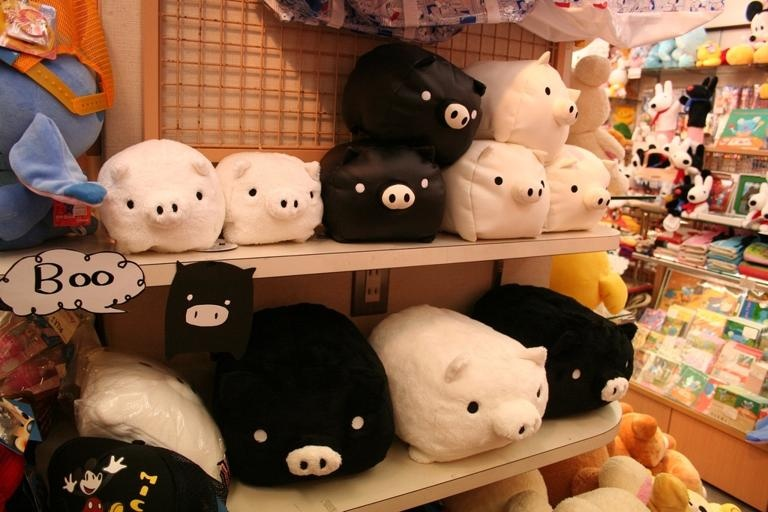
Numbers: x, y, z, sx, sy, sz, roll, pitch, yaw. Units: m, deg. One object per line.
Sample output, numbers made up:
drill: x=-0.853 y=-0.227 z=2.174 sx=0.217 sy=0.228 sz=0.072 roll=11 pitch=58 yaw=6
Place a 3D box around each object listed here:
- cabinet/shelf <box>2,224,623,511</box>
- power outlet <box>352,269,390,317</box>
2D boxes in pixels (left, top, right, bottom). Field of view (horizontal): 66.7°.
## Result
cabinet/shelf: x=-0.012 y=0.281 z=2.057 sx=1.866 sy=0.890 sz=0.811 roll=-4 pitch=19 yaw=-11
power outlet: x=-0.048 y=0.130 z=2.189 sx=0.177 sy=0.251 sz=0.025 roll=-2 pitch=14 yaw=-27
